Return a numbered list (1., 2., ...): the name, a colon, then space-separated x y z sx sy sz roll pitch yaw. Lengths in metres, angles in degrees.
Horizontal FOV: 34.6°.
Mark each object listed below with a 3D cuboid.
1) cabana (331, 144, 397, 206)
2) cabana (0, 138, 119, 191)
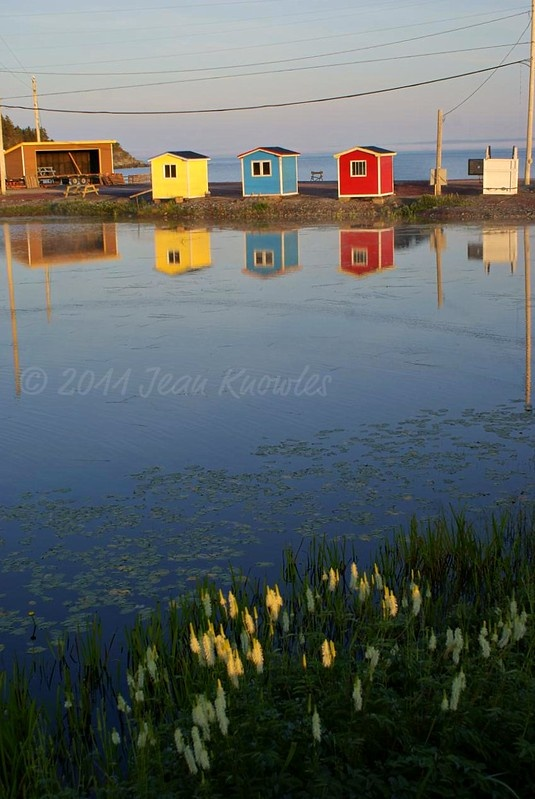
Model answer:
1. cabana: 5.204 -11.634 45.301 2.718 2.654 2.891 5 15 30
2. cabana: -15.461 -17.239 64.585 5.427 2.985 8.663 2 15 18
